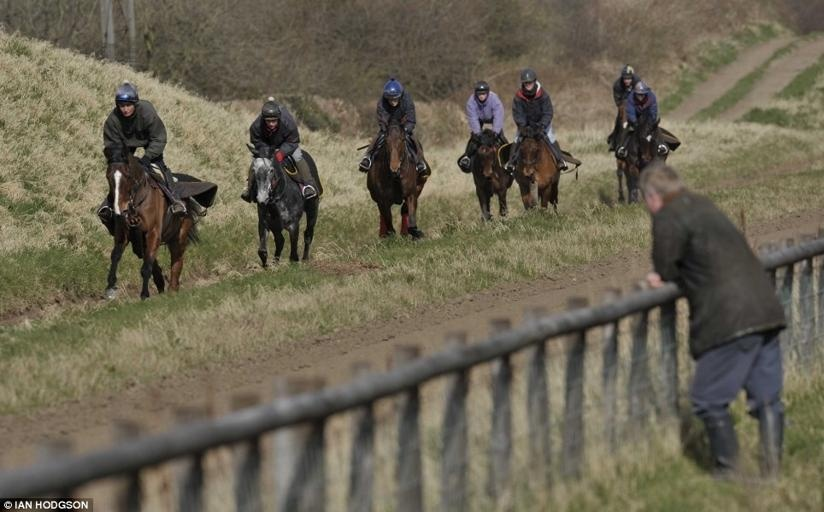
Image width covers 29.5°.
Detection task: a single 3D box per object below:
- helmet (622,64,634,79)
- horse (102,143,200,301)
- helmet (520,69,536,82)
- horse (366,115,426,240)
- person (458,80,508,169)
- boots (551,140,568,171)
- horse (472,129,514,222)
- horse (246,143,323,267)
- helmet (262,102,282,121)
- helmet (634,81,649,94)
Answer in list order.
[{"bbox_3d":[7.934,-6.720,57.083,0.349,0.460,0.555,4,22,13],"label":"helmet"},{"bbox_3d":[-8.162,-0.656,48.942,1.570,4.305,7.053,3,-4,9],"label":"horse"},{"bbox_3d":[3.906,-5.966,52.013,0.449,0.402,0.440,-6,15,-7],"label":"helmet"},{"bbox_3d":[-0.416,-2.288,52.444,1.964,3.811,5.859,-2,-1,-2],"label":"horse"},{"bbox_3d":[2.399,-4.430,52.676,0.994,3.092,1.514,0,2,0],"label":"person"},{"bbox_3d":[4.870,-3.222,52.562,0.343,1.212,0.658,-17,38,22],"label":"boots"},{"bbox_3d":[2.723,-2.504,53.358,1.157,3.014,4.322,-3,1,4],"label":"horse"},{"bbox_3d":[-4.102,-1.609,49.527,1.628,3.676,2.721,0,8,-3],"label":"horse"},{"bbox_3d":[-4.375,-4.584,49.140,0.436,0.589,0.527,1,-21,-3],"label":"helmet"},{"bbox_3d":[8.053,-5.875,54.851,0.530,0.420,0.708,-2,15,9],"label":"helmet"}]
